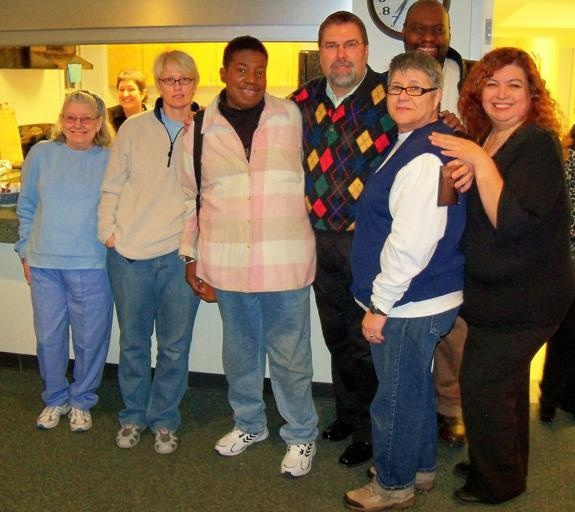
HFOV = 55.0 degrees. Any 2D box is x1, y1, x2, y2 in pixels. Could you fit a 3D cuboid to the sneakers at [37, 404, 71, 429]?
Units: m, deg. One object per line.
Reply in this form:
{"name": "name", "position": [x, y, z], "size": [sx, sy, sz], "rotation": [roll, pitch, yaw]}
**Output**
{"name": "sneakers", "position": [-1.240, 0.846, 2.895], "size": [0.066, 0.064, 0.167], "rotation": [4, 7, 8]}

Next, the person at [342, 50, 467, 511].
{"name": "person", "position": [0.448, 0.168, 2.126], "size": [0.445, 1.827, 0.320], "rotation": [2, 15, 16]}

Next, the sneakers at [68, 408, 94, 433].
{"name": "sneakers", "position": [-1.079, 0.855, 2.840], "size": [0.069, 0.070, 0.167], "rotation": [1, -2, -21]}

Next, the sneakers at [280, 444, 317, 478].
{"name": "sneakers", "position": [0.049, 0.933, 2.509], "size": [0.087, 0.086, 0.197], "rotation": [0, -2, 14]}

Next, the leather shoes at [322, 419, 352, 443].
{"name": "leather shoes", "position": [0.252, 0.887, 2.777], "size": [0.158, 0.060, 0.079], "rotation": [2, -2, -39]}

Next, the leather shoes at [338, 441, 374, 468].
{"name": "leather shoes", "position": [0.327, 0.926, 2.587], "size": [0.074, 0.079, 0.196], "rotation": [0, -1, 41]}

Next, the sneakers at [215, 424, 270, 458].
{"name": "sneakers", "position": [-0.235, 0.904, 2.727], "size": [0.278, 0.113, 0.098], "rotation": [-13, 27, -29]}

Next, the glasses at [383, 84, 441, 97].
{"name": "glasses", "position": [0.452, -0.596, 1.989], "size": [0.176, 0.044, 0.054], "rotation": [3, 14, 19]}

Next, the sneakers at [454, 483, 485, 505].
{"name": "sneakers", "position": [0.763, 1.007, 2.304], "size": [0.116, 0.043, 0.052], "rotation": [-1, 9, 7]}

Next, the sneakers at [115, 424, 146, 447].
{"name": "sneakers", "position": [-0.795, 0.888, 2.722], "size": [0.063, 0.064, 0.155], "rotation": [1, 6, 1]}

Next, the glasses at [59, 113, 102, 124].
{"name": "glasses", "position": [-1.018, -0.674, 2.709], "size": [0.175, 0.048, 0.077], "rotation": [-6, 14, -18]}

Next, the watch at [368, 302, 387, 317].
{"name": "watch", "position": [0.334, 0.198, 2.027], "size": [0.051, 0.018, 0.050], "rotation": [32, -7, -31]}

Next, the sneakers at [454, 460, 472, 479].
{"name": "sneakers", "position": [0.801, 0.971, 2.505], "size": [0.064, 0.061, 0.146], "rotation": [2, 8, 12]}

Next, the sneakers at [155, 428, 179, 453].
{"name": "sneakers", "position": [-0.595, 0.901, 2.681], "size": [0.075, 0.047, 0.132], "rotation": [-1, 7, -14]}
